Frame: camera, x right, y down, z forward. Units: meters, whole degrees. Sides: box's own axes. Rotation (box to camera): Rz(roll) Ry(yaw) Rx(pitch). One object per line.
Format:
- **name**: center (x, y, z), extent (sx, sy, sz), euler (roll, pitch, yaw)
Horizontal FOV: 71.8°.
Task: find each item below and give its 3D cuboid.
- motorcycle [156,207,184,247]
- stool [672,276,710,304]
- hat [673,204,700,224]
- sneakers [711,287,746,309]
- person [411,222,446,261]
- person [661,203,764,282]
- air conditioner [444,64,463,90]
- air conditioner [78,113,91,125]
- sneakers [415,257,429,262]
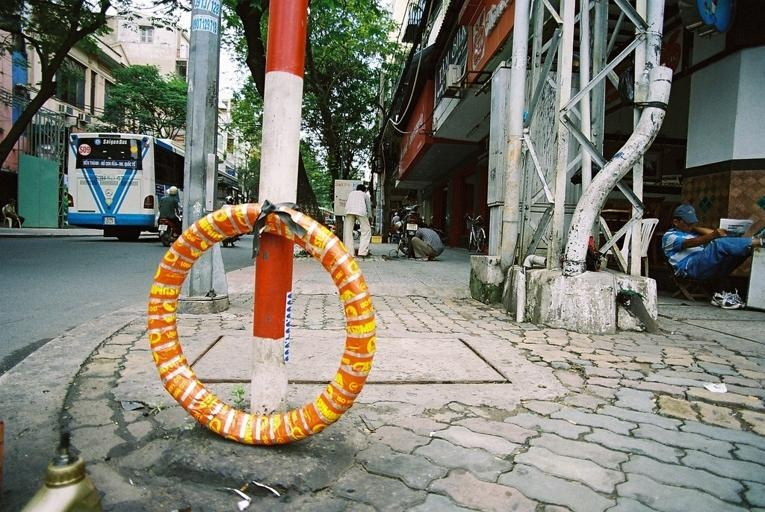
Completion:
- **motorcycle**: center (-6.474, -0.908, 16.029), extent (0.645, 1.168, 1.358), euler (1, 2, -23)
- **stool**: center (4.535, 0.492, 7.783), extent (0.371, 0.271, 0.432), euler (2, 5, -17)
- **hat**: center (4.430, -0.623, 7.735), extent (0.333, 0.186, 0.249), euler (16, 14, 34)
- **sneakers**: center (4.675, 0.590, 7.208), extent (0.189, 0.215, 0.467), euler (0, -2, -10)
- **person**: center (1.240, -0.415, 14.480), extent (0.884, 1.080, 0.909), euler (10, -4, -35)
- **person**: center (4.713, -0.117, 7.478), extent (0.690, 1.086, 1.488), euler (12, -15, -25)
- **air conditioner**: center (1.632, -4.051, 11.959), extent (0.369, 0.559, 0.467), euler (3, 2, 8)
- **air conditioner**: center (-18.373, -8.419, 32.388), extent (0.329, 0.440, 0.916), euler (1, 8, -8)
- **sneakers**: center (1.056, 0.061, 14.171), extent (0.344, 0.149, 0.117), euler (9, 3, 10)
